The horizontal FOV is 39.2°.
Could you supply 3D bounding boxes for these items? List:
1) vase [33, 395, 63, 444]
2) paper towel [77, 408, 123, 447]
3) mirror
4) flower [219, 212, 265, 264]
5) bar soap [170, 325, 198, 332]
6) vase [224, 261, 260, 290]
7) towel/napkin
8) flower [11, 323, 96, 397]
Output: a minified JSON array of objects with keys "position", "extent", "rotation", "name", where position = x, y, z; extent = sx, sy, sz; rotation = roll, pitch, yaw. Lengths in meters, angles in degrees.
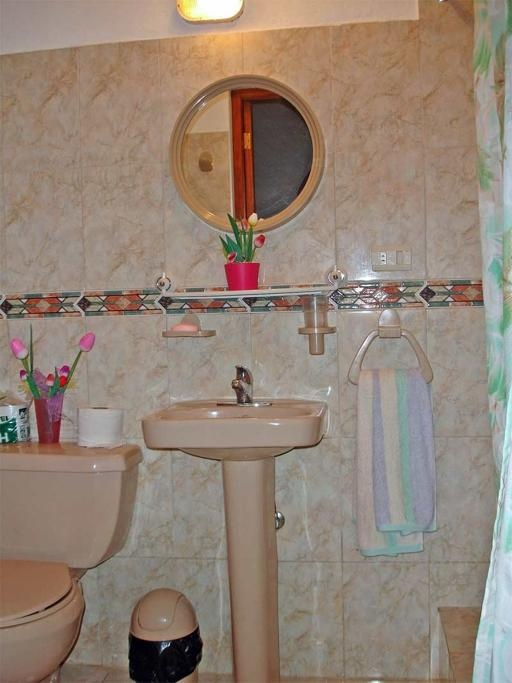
[{"position":[-0.622,0.234,2.147],"extent":[0.077,0.158,0.088],"rotation":[1,20,13],"name":"vase"},{"position":[-0.462,0.249,2.128],"extent":[0.111,0.092,0.113],"rotation":[1,-5,3],"name":"paper towel"},{"position":[-0.007,-0.565,2.145],"extent":[0.489,0.483,0.036],"rotation":[1,-1,8],"name":"mirror"},{"position":[-0.032,-0.291,2.081],"extent":[0.093,0.150,0.075],"rotation":[10,18,25],"name":"flower"},{"position":[-0.205,-0.040,2.059],"extent":[0.072,0.015,0.054],"rotation":[-6,19,-7],"name":"bar soap"},{"position":[-0.041,-0.189,2.053],"extent":[0.086,0.061,0.079],"rotation":[0,-2,-16],"name":"vase"},{"position":[0.381,0.337,1.986],"extent":[0.211,0.489,0.204],"rotation":[-1,19,8],"name":"towel/napkin"},{"position":[-0.595,0.038,2.226],"extent":[0.221,0.272,0.218],"rotation":[10,2,11],"name":"flower"}]
